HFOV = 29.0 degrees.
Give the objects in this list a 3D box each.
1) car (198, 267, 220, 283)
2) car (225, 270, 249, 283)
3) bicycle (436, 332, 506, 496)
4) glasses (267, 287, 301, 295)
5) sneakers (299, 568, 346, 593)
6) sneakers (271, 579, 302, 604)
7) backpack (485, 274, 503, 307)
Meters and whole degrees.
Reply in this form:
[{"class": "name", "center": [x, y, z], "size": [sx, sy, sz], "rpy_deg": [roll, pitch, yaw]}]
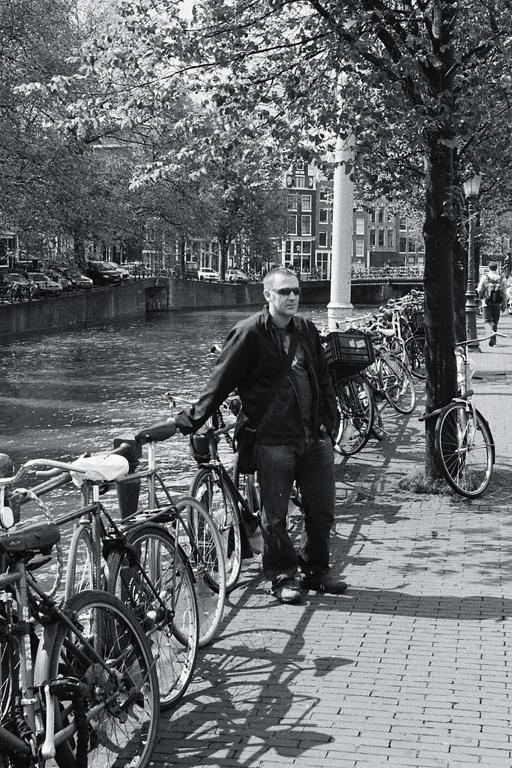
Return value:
[{"class": "car", "center": [-3.250, -7.251, 64.211], "size": [1.158, 1.056, 2.484], "rpy_deg": [-3, 4, -13]}, {"class": "car", "center": [-1.504, -7.416, 68.888], "size": [1.031, 0.974, 1.922], "rpy_deg": [4, 13, 18]}, {"class": "bicycle", "center": [1.523, 0.378, 7.067], "size": [0.489, 0.718, 1.129], "rpy_deg": [-11, 0, 20]}, {"class": "glasses", "center": [0.152, -0.414, 4.451], "size": [0.107, 0.038, 0.186], "rpy_deg": [2, 7, 38]}, {"class": "sneakers", "center": [0.322, 0.936, 4.790], "size": [0.239, 0.125, 0.092], "rpy_deg": [-1, 8, 20]}, {"class": "sneakers", "center": [0.141, 0.958, 4.601], "size": [0.069, 0.085, 0.174], "rpy_deg": [0, -15, -12]}, {"class": "backpack", "center": [5.309, -2.073, 22.083], "size": [0.500, 0.829, 0.471], "rpy_deg": [3, -28, 5]}]
